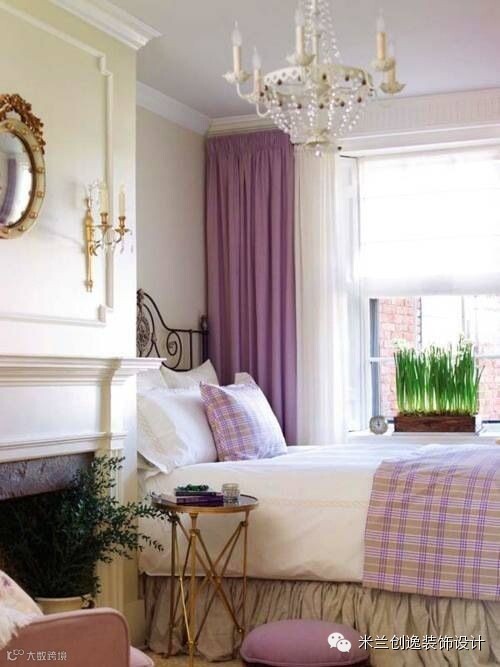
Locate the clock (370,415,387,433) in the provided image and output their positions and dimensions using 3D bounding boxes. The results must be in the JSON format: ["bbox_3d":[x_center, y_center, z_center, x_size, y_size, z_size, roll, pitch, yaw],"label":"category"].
[{"bbox_3d":[0.810,0.568,4.072,0.103,0.106,0.052,-3,-10,17],"label":"clock"}]

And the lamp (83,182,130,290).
[{"bbox_3d":[-0.526,-0.361,2.496,0.152,0.405,0.334,0,4,13],"label":"lamp"}]

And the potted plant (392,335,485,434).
[{"bbox_3d":[1.175,0.331,3.976,0.606,0.696,0.316,0,2,14],"label":"potted plant"}]

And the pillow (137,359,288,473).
[{"bbox_3d":[-0.165,0.377,2.927,0.150,0.459,0.516,-39,-22,31],"label":"pillow"}]

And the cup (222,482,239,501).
[{"bbox_3d":[-0.073,0.568,2.327,0.054,0.052,0.054,0,0,0],"label":"cup"}]
